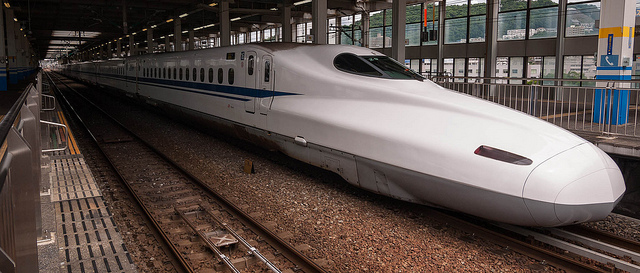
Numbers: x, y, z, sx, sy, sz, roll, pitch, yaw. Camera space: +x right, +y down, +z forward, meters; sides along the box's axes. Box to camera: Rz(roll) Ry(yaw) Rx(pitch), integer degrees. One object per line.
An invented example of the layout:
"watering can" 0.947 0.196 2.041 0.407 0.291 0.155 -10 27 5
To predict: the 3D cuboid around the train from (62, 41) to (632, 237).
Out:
"train" 0.497 -0.567 11.992 16.080 5.671 2.405 8 18 34
